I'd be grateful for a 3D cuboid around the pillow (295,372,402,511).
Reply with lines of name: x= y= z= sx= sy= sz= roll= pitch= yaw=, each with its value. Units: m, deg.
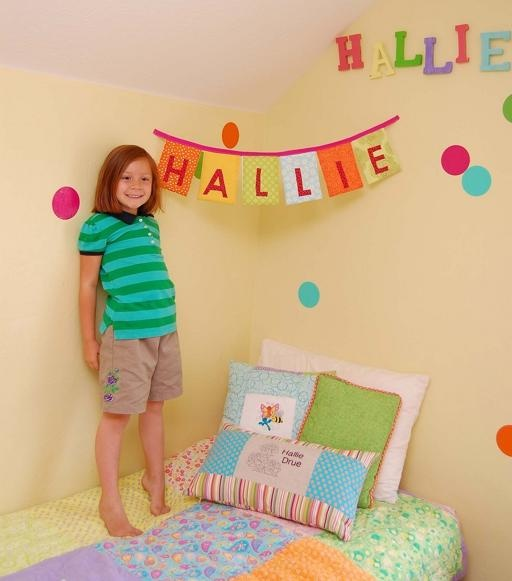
pillow: x=0.312 y=0.470 z=1.587 sx=0.370 sy=0.321 sz=0.100 roll=11 pitch=-14 yaw=35
